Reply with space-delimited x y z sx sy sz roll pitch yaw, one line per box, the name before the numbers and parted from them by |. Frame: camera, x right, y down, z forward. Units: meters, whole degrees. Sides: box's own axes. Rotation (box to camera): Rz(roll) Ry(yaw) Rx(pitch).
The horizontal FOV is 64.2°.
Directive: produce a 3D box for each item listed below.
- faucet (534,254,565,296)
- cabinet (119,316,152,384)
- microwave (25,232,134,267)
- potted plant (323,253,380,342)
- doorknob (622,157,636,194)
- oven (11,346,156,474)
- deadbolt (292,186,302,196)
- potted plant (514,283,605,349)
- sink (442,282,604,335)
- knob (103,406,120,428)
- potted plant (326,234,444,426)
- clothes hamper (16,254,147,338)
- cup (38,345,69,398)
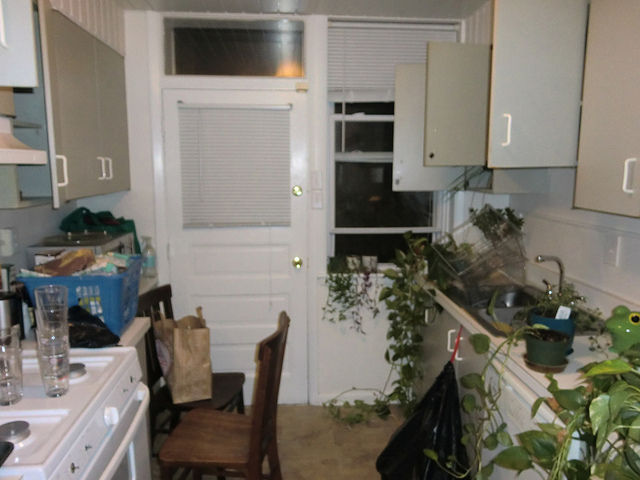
faucet | 1.170 0.142 2.600 0.129 0.167 0.514 1 6 26
cabinet | -0.951 0.550 2.688 0.129 0.362 0.214 1 11 2
microwave | -1.444 0.037 3.126 0.430 0.155 0.636 -2 6 0
potted plant | 0.236 0.401 3.766 0.331 0.596 0.168 2 4 1
doorknob | 1.253 -0.264 2.068 0.017 0.145 0.048 -5 6 -31
oven | -0.892 0.620 1.887 0.324 0.514 0.518 3 9 -4
deadbolt | -0.159 -0.352 3.609 0.051 0.059 0.013 9 10 0
potted plant | 1.042 0.370 2.369 0.331 0.327 0.216 8 -2 -7
sink | 0.967 0.338 2.613 0.291 0.146 0.377 0 8 -8
knob | -0.763 0.651 1.885 0.025 0.068 0.063 -4 -14 23
potted plant | 0.482 0.604 3.508 0.824 1.322 0.640 1 6 25
clothes hamper | -1.155 0.237 2.528 0.330 0.356 0.497 2 9 1
cup | -0.984 0.481 1.898 0.093 0.184 0.097 -2 5 0
